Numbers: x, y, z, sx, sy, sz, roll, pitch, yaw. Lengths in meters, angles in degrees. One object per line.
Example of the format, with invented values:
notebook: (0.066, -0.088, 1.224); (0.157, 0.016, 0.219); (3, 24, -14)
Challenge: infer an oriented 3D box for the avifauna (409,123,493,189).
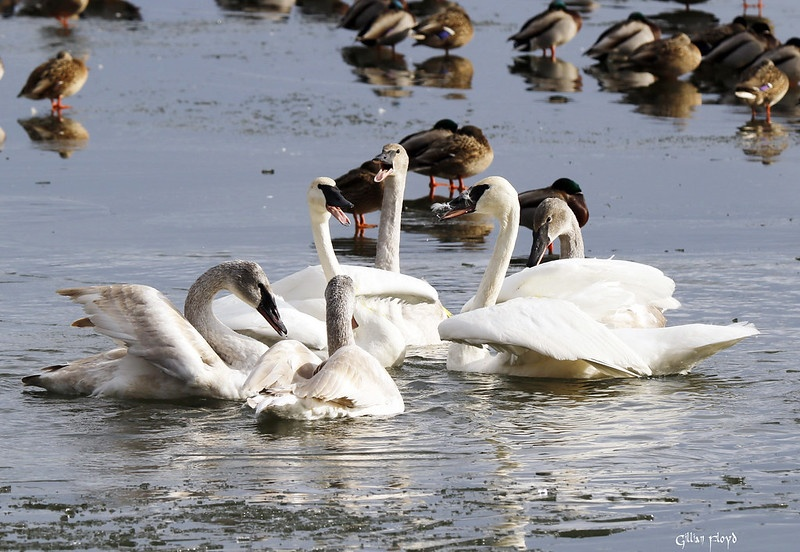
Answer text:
avifauna: (0.730, -2.234, 23.627); (1.995, 0.860, 0.942); (-2, 1, -28)

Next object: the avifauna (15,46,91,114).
avifauna: (-7.228, -3.990, 27.004); (1.179, 1.191, 1.230); (4, 24, -2)
